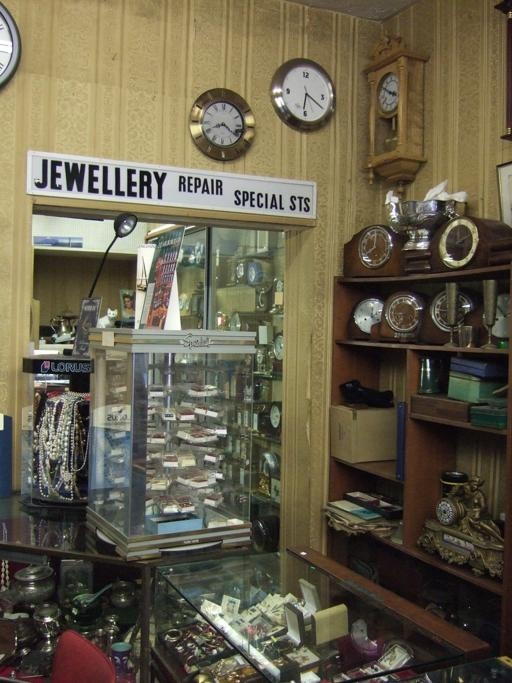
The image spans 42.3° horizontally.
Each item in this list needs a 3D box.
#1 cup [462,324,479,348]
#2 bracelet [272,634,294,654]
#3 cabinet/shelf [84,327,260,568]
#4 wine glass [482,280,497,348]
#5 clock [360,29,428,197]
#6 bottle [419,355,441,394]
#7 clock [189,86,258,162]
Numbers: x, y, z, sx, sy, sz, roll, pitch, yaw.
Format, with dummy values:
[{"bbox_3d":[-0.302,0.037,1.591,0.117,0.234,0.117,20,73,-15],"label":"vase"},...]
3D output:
[{"bbox_3d":[0.779,-0.020,2.437,0.042,0.076,0.069,-4,4,-30],"label":"cup"},{"bbox_3d":[0.057,0.634,1.377,0.044,0.005,0.066,-2,3,-13],"label":"bracelet"},{"bbox_3d":[-0.436,0.321,2.474,0.709,1.067,0.737,0,1,-23],"label":"cabinet/shelf"},{"bbox_3d":[0.862,-0.110,2.426,0.043,0.233,0.121,-1,3,18],"label":"wine glass"},{"bbox_3d":[0.674,-1.109,3.215,0.211,0.731,0.334,-3,3,-17],"label":"clock"},{"bbox_3d":[0.707,0.139,2.687,0.084,0.147,0.064,-1,3,17],"label":"bottle"},{"bbox_3d":[-0.165,-1.001,3.016,0.404,0.376,0.039,3,2,-35],"label":"clock"}]
